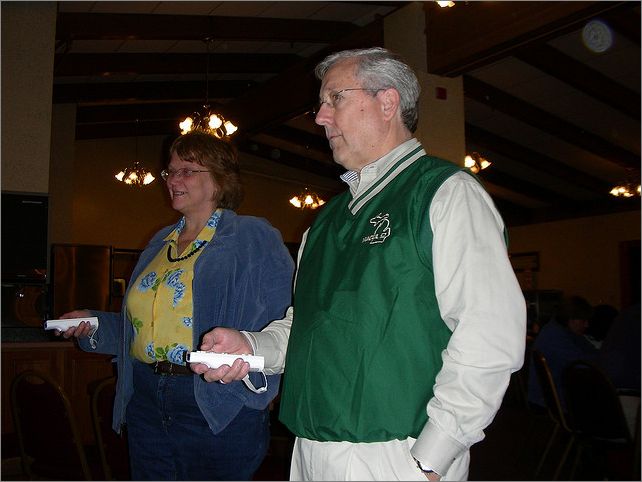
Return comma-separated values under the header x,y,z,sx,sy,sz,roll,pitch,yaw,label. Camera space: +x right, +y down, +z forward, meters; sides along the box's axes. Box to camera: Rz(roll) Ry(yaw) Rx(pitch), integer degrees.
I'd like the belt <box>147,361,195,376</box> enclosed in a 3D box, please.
x,y,z,sx,sy,sz,roll,pitch,yaw,label
-0.613,0.512,2.246,0.220,0.058,0.021,-2,-4,23,belt

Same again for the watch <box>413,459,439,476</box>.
x,y,z,sx,sy,sz,roll,pitch,yaw,label
0.310,0.645,1.624,0.056,0.019,0.041,35,-7,25,watch

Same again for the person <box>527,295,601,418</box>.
x,y,z,sx,sy,sz,roll,pitch,yaw,label
2.118,0.947,4.766,0.592,0.903,0.655,3,-3,31,person
